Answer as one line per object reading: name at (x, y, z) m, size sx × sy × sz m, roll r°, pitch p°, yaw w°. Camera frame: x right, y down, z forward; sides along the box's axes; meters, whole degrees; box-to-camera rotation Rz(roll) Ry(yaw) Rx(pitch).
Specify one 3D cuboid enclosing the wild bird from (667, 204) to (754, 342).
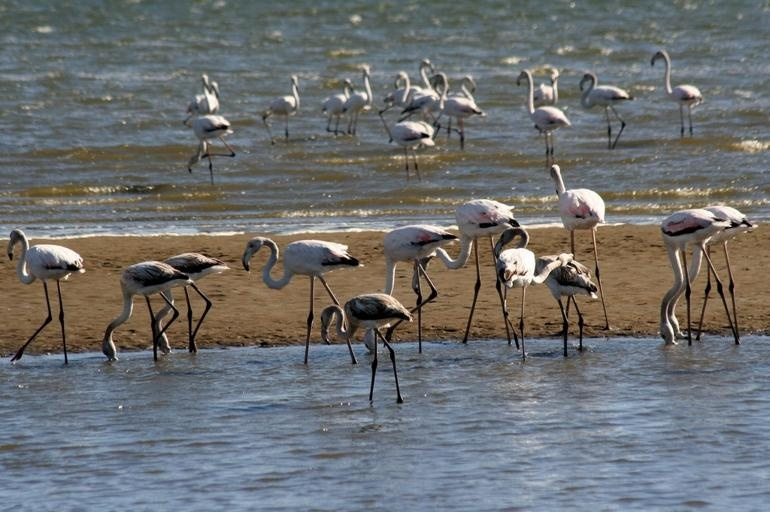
wild bird at (5.128, 0.293, 19.552) m, size 1.365 × 2.203 × 0.819 m, roll -5°, pitch 14°, yaw 13°
